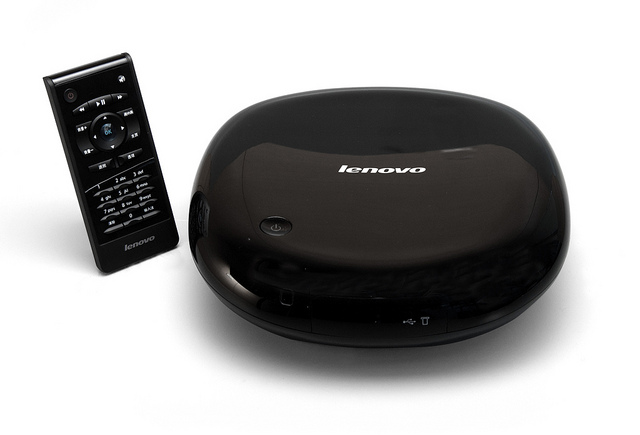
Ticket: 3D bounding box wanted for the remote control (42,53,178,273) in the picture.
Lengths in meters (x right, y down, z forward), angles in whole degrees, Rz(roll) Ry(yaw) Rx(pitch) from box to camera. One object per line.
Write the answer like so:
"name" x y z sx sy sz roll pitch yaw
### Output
"remote control" -0.381 -0.099 1.064 0.144 0.392 0.223 -5 -9 9
